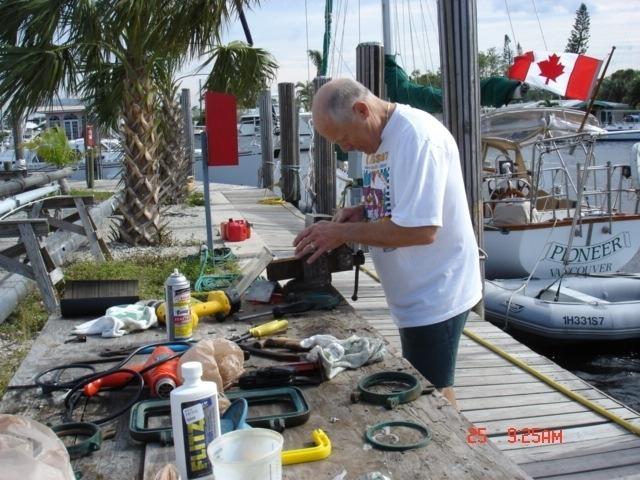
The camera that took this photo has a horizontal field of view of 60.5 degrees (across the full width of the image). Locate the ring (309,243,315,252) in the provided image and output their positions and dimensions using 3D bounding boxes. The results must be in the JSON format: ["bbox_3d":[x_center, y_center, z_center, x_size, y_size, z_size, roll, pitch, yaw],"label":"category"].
[{"bbox_3d":[-0.034,0.032,2.597,0.017,0.035,0.047,21,-7,-30],"label":"ring"}]
